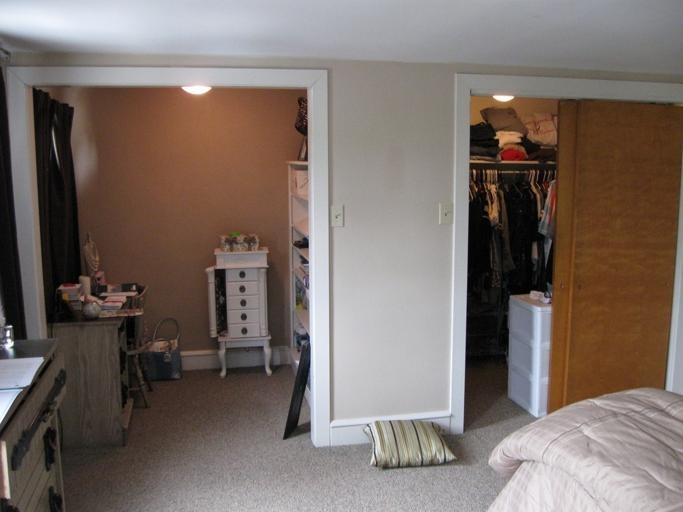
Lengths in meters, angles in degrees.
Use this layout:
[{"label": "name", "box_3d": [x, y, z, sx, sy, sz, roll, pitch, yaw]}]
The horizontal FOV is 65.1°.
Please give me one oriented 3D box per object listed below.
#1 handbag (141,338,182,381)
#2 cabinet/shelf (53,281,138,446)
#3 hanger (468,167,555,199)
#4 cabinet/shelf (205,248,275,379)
[{"label": "handbag", "box_3d": [-1.604, 0.916, 4.917, 0.310, 0.347, 0.347, -1, 0, 20]}, {"label": "cabinet/shelf", "box_3d": [-1.746, 0.886, 3.737, 0.448, 0.893, 0.152, -2, 13, -9]}, {"label": "hanger", "box_3d": [1.559, -0.675, 4.854, 0.872, 0.262, 0.217, -2, 13, -8]}, {"label": "cabinet/shelf", "box_3d": [-0.928, 0.515, 4.925, 0.529, 1.161, 0.349, -3, 13, -14]}]
